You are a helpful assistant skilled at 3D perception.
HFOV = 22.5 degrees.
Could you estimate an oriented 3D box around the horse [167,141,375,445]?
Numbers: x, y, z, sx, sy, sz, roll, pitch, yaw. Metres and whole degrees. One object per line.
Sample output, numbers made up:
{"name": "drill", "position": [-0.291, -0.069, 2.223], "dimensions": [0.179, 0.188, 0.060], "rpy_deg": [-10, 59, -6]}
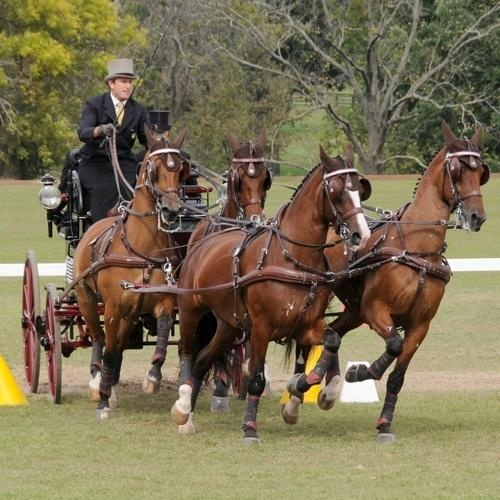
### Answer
{"name": "horse", "position": [0.039, 0.521, 12.023], "dimensions": [1.075, 2.551, 3.734], "rpy_deg": [2, -5, -26]}

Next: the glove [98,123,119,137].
{"name": "glove", "position": [-1.462, -1.253, 13.100], "dimensions": [0.140, 0.072, 0.182], "rpy_deg": [-5, 5, 6]}

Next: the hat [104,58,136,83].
{"name": "hat", "position": [-1.402, -1.973, 13.769], "dimensions": [0.321, 0.252, 0.717], "rpy_deg": [-1, 7, -7]}

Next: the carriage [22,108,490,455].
{"name": "carriage", "position": [0.159, 0.359, 12.510], "dimensions": [2.630, 2.611, 4.542], "rpy_deg": [0, -3, -43]}
